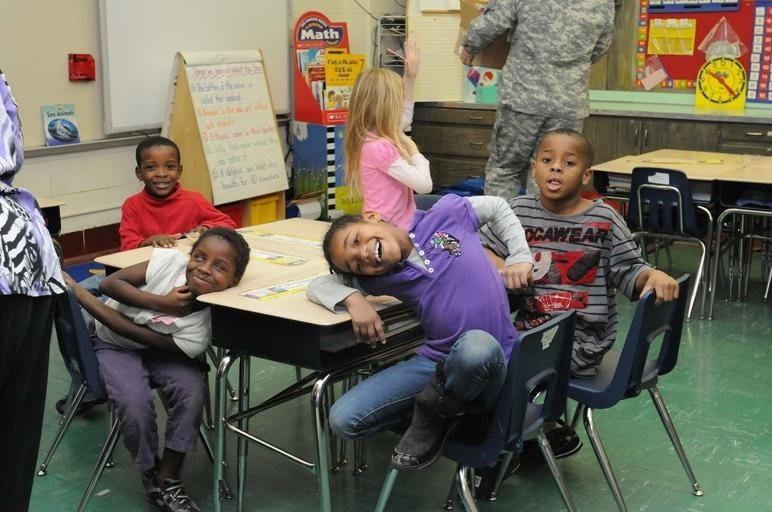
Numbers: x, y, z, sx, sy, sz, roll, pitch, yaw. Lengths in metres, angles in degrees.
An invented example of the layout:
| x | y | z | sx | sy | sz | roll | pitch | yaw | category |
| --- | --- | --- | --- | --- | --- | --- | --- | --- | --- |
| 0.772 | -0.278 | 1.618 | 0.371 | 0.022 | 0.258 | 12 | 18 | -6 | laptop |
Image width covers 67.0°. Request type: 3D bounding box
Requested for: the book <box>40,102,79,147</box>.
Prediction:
| x | y | z | sx | sy | sz | roll | pitch | yaw | category |
| --- | --- | --- | --- | --- | --- | --- | --- | --- | --- |
| -2.705 | -1.084 | 4.788 | 0.047 | 0.345 | 0.326 | 7 | 22 | 41 | book |

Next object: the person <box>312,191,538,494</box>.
| x | y | z | sx | sy | sz | roll | pitch | yaw | category |
| --- | --- | --- | --- | --- | --- | --- | --- | --- | --- |
| 0.161 | 0.223 | 1.988 | 0.782 | 0.789 | 0.647 | -6 | 16 | -17 | person |

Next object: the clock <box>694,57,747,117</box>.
| x | y | z | sx | sy | sz | roll | pitch | yaw | category |
| --- | --- | --- | --- | --- | --- | --- | --- | --- | --- |
| 3.356 | -1.724 | 5.841 | 0.457 | 0.528 | 0.349 | 6 | 17 | 26 | clock |

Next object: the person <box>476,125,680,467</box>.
| x | y | z | sx | sy | sz | roll | pitch | yaw | category |
| --- | --- | --- | --- | --- | --- | --- | --- | --- | --- |
| 0.638 | 0.153 | 2.284 | 1.041 | 1.258 | 0.723 | 4 | 8 | 25 | person |
